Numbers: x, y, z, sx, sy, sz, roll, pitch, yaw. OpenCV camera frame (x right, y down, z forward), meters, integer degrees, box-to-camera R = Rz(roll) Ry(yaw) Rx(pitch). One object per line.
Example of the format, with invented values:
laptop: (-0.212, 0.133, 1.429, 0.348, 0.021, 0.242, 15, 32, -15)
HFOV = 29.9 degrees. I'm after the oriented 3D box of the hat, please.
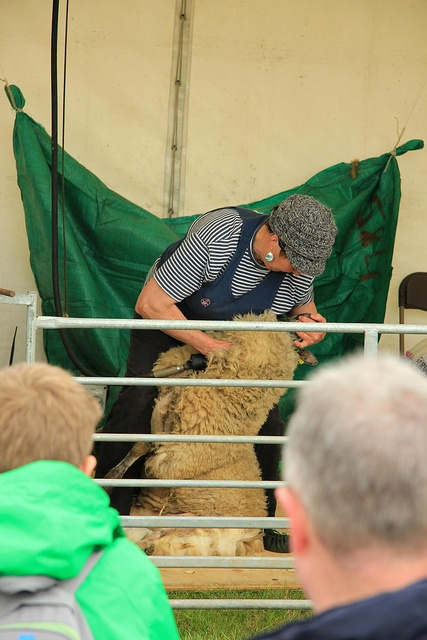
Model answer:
hat: (0.316, -0.262, 2.370, 0.197, 0.137, 0.251, 45, -4, 40)
